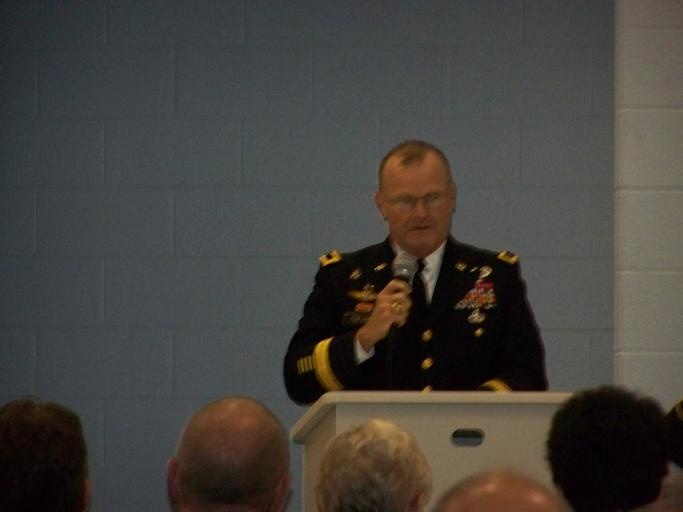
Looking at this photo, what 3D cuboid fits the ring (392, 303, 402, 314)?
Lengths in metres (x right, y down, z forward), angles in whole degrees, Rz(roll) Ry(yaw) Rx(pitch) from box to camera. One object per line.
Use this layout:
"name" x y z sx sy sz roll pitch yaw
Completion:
"ring" 0.206 0.200 5.374 0.030 0.029 0.020 -1 -7 9

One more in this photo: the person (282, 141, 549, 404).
"person" 0.260 0.066 5.758 1.065 0.992 0.837 -5 13 8
